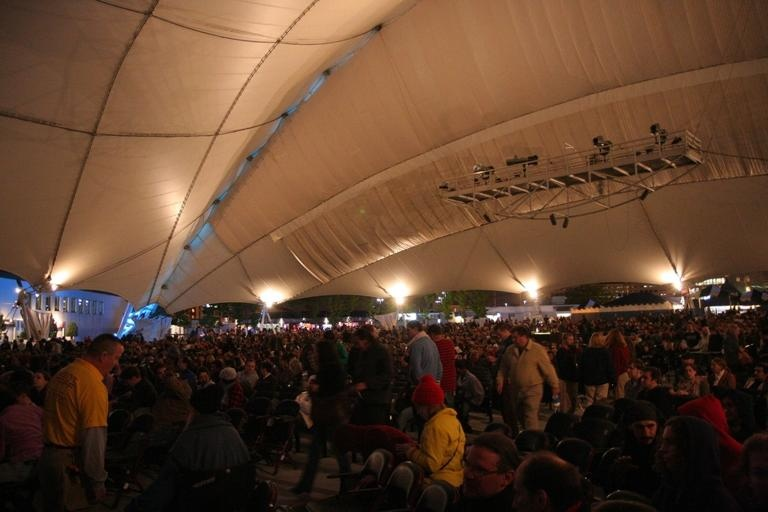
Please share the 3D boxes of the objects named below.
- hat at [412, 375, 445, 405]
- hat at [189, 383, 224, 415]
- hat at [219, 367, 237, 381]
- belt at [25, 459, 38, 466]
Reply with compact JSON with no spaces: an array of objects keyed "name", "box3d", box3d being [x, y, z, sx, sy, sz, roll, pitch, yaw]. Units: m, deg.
[{"name":"hat","box3d":[0.527,1.637,6.070,0.340,0.268,0.346,1,-8,-20]},{"name":"hat","box3d":[-1.941,1.553,5.383,0.307,0.301,0.354,4,-13,-25]},{"name":"hat","box3d":[-3.210,2.426,10.200,0.318,0.271,0.225,2,-13,-20]},{"name":"belt","box3d":[-4.818,2.798,6.747,0.088,0.029,0.093,-4,-6,42]}]
